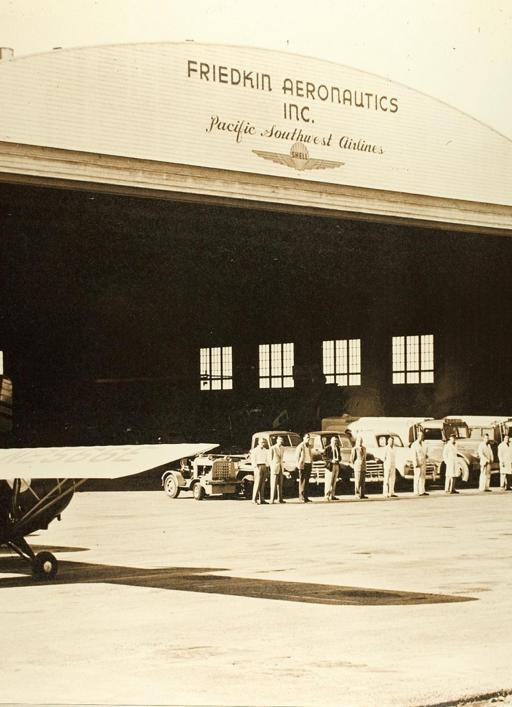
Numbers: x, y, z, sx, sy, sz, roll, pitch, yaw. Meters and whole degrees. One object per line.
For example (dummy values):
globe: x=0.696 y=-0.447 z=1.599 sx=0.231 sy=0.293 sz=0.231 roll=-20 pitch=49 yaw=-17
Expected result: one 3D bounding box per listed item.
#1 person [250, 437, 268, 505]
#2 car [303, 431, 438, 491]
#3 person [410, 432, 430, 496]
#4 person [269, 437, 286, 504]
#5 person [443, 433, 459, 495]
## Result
person: x=0.083 y=2.040 z=24.468 sx=0.291 sy=0.992 sz=0.743 roll=-2 pitch=2 yaw=0
car: x=2.090 y=2.081 z=27.475 sx=1.837 sy=1.021 sz=1.201 roll=0 pitch=-2 yaw=0
person: x=2.975 y=1.971 z=25.908 sx=0.249 sy=1.143 sz=0.784 roll=-2 pitch=2 yaw=6
person: x=0.366 y=2.025 z=24.566 sx=0.239 sy=1.041 sz=0.821 roll=-2 pitch=2 yaw=1
person: x=3.603 y=2.020 z=26.337 sx=0.254 sy=1.055 sz=1.074 roll=-2 pitch=2 yaw=7
